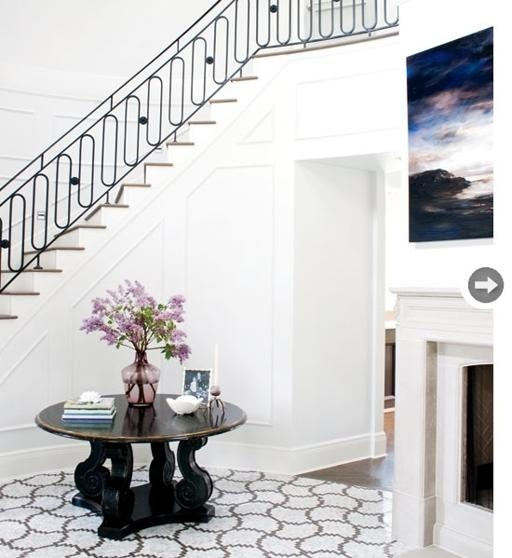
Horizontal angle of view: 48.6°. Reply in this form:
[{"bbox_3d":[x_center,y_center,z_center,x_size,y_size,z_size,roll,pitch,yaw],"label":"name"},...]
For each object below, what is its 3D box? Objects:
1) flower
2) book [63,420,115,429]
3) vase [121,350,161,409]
[{"bbox_3d":[-0.788,0.447,3.546,0.835,0.663,0.662,6,-18,-39],"label":"flower"},{"bbox_3d":[-0.932,0.789,3.088,0.310,0.019,0.146,1,-1,2],"label":"book"},{"bbox_3d":[-0.720,0.619,3.547,0.260,0.299,0.247,0,1,-11],"label":"vase"}]
